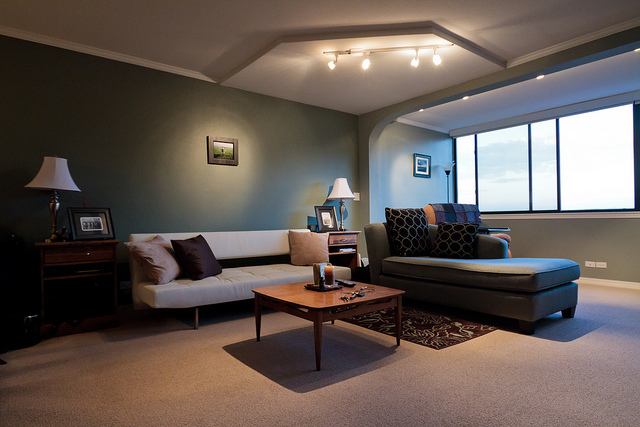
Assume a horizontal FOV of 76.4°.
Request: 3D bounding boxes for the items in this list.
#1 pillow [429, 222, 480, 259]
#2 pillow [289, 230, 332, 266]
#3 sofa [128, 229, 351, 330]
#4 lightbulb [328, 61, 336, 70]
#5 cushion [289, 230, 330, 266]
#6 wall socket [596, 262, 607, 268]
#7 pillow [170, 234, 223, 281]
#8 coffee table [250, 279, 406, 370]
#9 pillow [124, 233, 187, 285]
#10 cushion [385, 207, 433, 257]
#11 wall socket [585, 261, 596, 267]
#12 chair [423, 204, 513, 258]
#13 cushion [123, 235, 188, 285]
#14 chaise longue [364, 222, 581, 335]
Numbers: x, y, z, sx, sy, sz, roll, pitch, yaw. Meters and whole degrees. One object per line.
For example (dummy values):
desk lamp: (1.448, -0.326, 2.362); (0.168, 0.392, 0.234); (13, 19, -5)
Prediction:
pillow: (1.831, 0.307, 5.375); (0.708, 0.523, 0.454); (-1, -1, 42)
pillow: (-0.141, 0.504, 5.788); (0.588, 0.503, 0.223); (2, -5, -14)
sofa: (-0.972, 0.760, 5.319); (2.643, 0.989, 1.125); (-1, 2, -40)
lightbulb: (0.160, -1.977, 5.455); (0.098, 0.071, 0.203); (-2, 1, 5)
cushion: (-0.148, 0.467, 5.711); (0.618, 0.470, 0.452); (0, 0, -17)
wall socket: (4.481, 0.820, 6.463); (0.013, 0.059, 0.099); (-3, 3, -40)
pillow: (-1.571, 0.624, 5.027); (0.151, 0.502, 0.490); (-34, -18, 26)
coffee table: (0.091, 1.078, 4.175); (1.323, 0.638, 0.874); (-2, 1, -28)
pillow: (-1.867, 0.531, 4.722); (0.437, 0.498, 0.544); (-1, 1, 16)
cushion: (1.195, 0.233, 5.722); (0.592, 0.667, 0.518); (3, 3, -18)
wall socket: (4.369, 0.823, 6.566); (0.143, 0.093, 0.028); (-1, 2, 32)
chair: (2.282, 0.164, 6.556); (1.115, 1.004, 1.054); (1, -7, -9)
cushion: (-1.852, 0.521, 4.605); (0.162, 0.530, 0.540); (-45, -14, 11)
chaise longue: (1.897, 0.694, 5.326); (1.523, 1.145, 2.347); (0, -1, -35)
